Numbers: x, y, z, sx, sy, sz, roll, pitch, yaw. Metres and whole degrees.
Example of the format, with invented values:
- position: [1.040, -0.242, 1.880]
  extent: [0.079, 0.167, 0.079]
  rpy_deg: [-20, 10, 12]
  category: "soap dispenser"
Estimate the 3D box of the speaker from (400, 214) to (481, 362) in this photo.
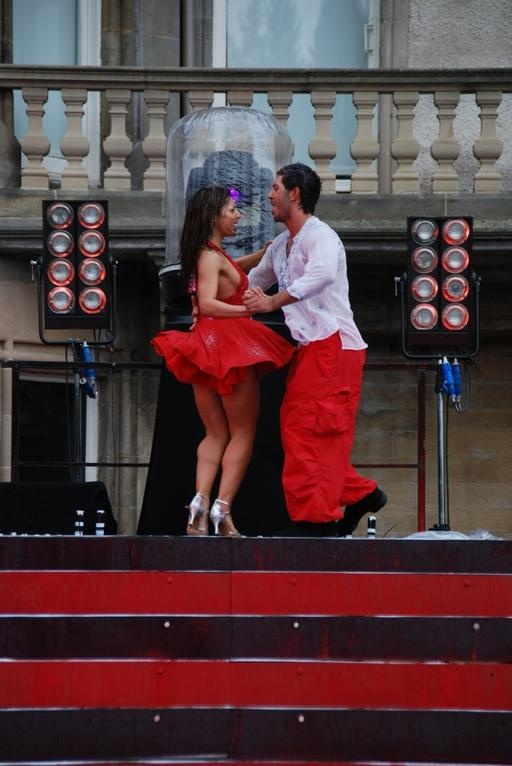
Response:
- position: [0.915, -0.496, 9.522]
  extent: [0.390, 0.769, 0.230]
  rpy_deg: [0, 21, 5]
  category: "speaker"

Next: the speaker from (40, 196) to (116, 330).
- position: [-0.928, -0.564, 9.898]
  extent: [0.336, 0.718, 0.338]
  rpy_deg: [-1, -17, -5]
  category: "speaker"

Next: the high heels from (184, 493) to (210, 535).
- position: [-0.227, 0.543, 7.665]
  extent: [0.071, 0.134, 0.161]
  rpy_deg: [3, -15, 3]
  category: "high heels"

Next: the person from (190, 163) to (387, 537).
- position: [0.203, -0.124, 7.825]
  extent: [0.522, 1.569, 0.528]
  rpy_deg: [1, 4, 27]
  category: "person"

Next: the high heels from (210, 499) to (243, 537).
- position: [-0.126, 0.550, 7.589]
  extent: [0.104, 0.142, 0.229]
  rpy_deg: [-1, 4, -2]
  category: "high heels"
